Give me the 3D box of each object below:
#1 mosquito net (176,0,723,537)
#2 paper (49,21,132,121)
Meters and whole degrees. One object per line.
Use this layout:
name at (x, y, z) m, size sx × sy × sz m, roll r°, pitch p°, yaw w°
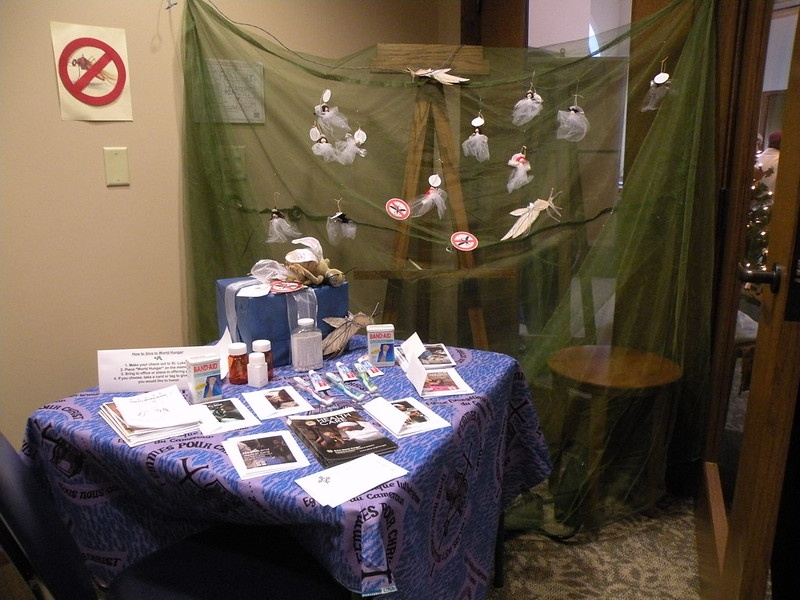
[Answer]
mosquito net at (0.226, -0.098, 2.181) m, size 1.849 × 2.003 × 0.089 m, roll 2°, pitch 11°, yaw 16°
paper at (-1.144, -0.851, 2.366) m, size 0.263 × 0.362 × 0.008 m, roll -6°, pitch 45°, yaw -31°
